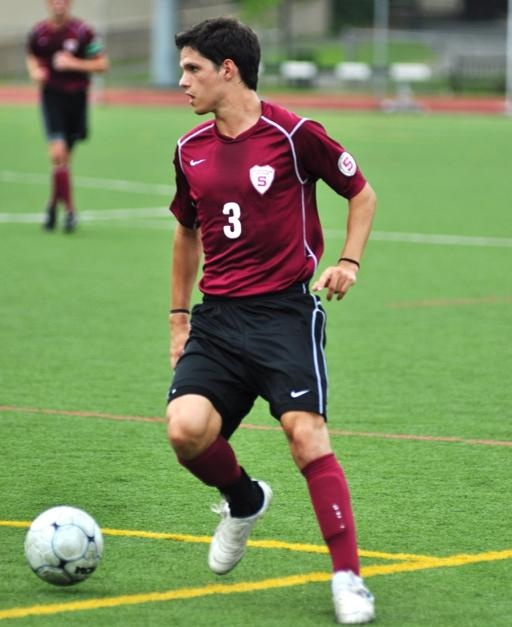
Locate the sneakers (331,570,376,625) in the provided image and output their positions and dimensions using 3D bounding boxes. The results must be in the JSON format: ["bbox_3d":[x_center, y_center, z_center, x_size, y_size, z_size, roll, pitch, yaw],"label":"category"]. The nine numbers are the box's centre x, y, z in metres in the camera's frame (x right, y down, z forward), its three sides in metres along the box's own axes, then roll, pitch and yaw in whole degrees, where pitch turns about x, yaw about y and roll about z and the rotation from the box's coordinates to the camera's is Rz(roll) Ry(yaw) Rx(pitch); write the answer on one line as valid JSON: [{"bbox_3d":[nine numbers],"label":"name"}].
[{"bbox_3d":[0.231,0.663,2.094,0.080,0.045,0.119,1,28,-9],"label":"sneakers"}]

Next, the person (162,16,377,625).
[{"bbox_3d":[0.050,-0.025,2.417,0.577,1.530,1.067,0,15,-4],"label":"person"}]

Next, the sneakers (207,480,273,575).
[{"bbox_3d":[-0.054,0.618,2.546,0.116,0.305,0.141,24,-9,29],"label":"sneakers"}]
